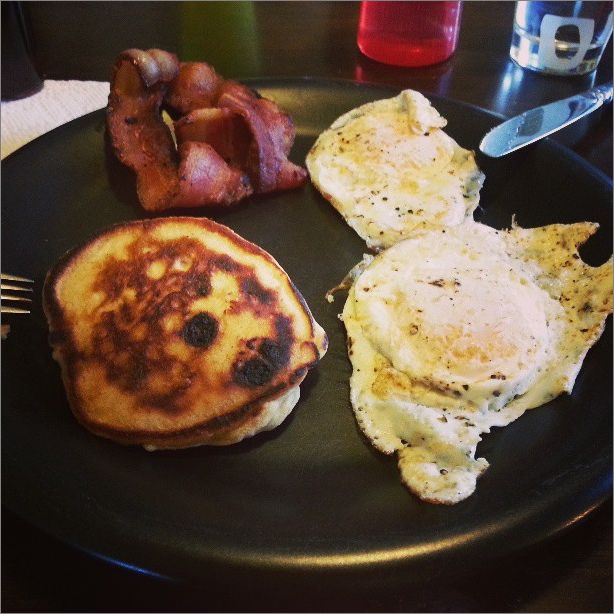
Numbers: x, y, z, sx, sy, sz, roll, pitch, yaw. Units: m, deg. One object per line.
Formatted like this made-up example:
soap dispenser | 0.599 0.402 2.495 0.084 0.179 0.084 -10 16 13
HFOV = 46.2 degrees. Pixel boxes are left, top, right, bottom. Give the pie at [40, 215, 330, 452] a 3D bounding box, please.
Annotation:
pie | -0.308 0.037 1.667 0.567 0.214 0.562 -22 54 -19
